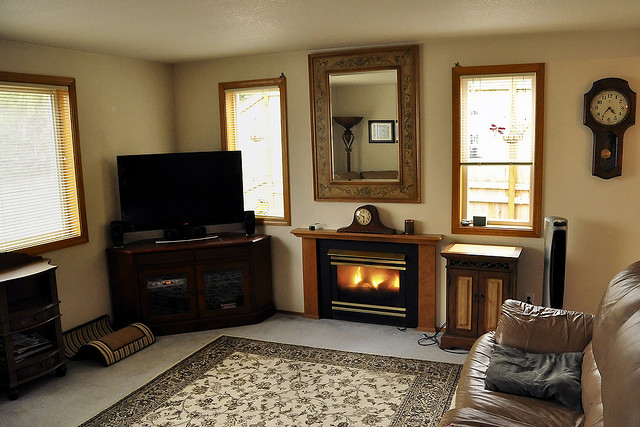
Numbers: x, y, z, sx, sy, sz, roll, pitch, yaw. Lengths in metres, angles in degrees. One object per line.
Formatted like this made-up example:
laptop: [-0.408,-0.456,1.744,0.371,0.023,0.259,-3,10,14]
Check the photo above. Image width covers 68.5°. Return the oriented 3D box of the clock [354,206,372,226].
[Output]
clock: [0.555,0.040,5.960,0.262,0.271,0.039,-1,7,14]

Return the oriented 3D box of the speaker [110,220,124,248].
speaker: [-2.592,0.262,5.994,0.203,0.339,0.164,-2,9,-2]

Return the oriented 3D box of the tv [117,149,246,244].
tv: [-1.829,-0.225,6.143,1.329,0.896,0.331,-2,6,-10]

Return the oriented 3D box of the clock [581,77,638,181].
clock: [3.146,-0.911,5.154,0.509,1.105,0.169,3,10,27]

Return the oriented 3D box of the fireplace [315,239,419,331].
fireplace: [0.691,0.869,6.191,1.397,1.073,0.558,0,-2,22]

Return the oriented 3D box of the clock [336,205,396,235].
clock: [0.588,0.076,5.960,0.725,0.354,0.142,1,9,17]
